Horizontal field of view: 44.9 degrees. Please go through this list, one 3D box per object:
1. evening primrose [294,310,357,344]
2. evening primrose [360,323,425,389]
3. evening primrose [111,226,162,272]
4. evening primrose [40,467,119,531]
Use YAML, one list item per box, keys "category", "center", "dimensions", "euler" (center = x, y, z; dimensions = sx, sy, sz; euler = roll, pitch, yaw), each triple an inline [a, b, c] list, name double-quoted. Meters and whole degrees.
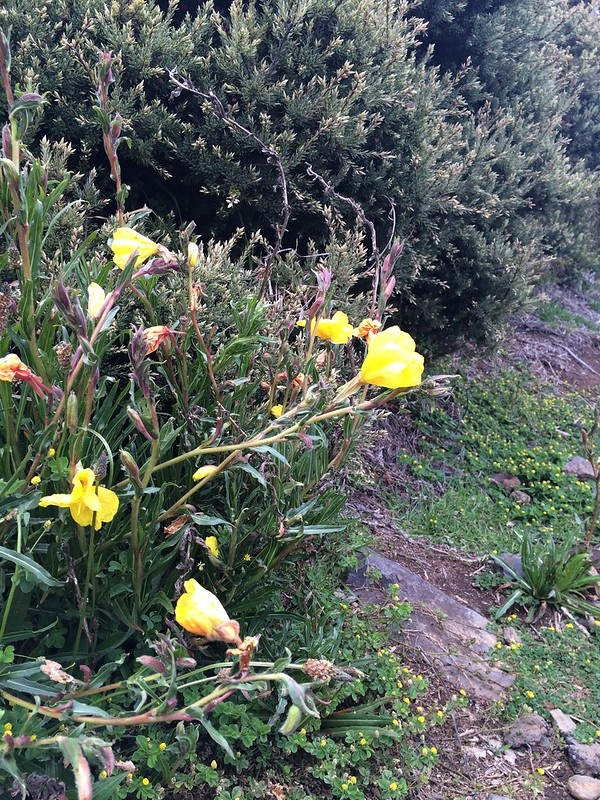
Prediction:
- category: "evening primrose"
  center: [0.069, -0.207, 1.883]
  dimensions: [0.115, 0.053, 0.108]
  euler: [9, -32, -2]
- category: "evening primrose"
  center: [0.194, -0.093, 1.605]
  dimensions: [0.192, 0.158, 0.102]
  euler: [1, 9, -9]
- category: "evening primrose"
  center: [-0.369, -0.341, 1.646]
  dimensions: [0.129, 0.099, 0.060]
  euler: [-3, -26, 4]
- category: "evening primrose"
  center: [-0.464, 0.194, 1.501]
  dimensions: [0.165, 0.101, 0.135]
  euler: [12, 11, 38]
